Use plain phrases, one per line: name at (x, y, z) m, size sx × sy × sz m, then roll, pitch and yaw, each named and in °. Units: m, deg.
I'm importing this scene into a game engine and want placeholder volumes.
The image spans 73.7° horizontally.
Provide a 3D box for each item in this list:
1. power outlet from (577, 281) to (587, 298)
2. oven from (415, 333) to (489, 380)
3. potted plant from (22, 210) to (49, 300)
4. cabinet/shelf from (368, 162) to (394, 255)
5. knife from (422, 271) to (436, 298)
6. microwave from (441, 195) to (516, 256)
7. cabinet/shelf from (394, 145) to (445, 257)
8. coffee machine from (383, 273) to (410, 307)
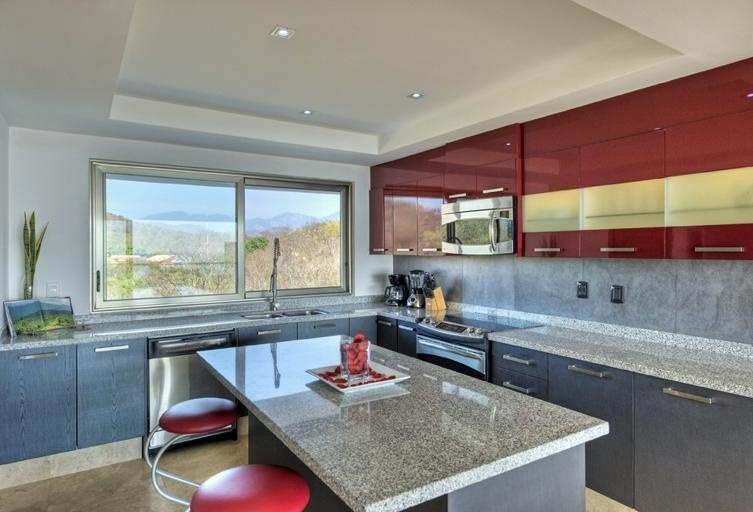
power outlet at (1.758, 0.288, 4.326) m, size 0.035 × 0.154 × 0.109 m, roll -6°, pitch 15°, yaw -28°
oven at (0.749, 0.829, 4.648) m, size 0.646 × 0.382 × 0.437 m, roll 13°, pitch 31°, yaw 24°
potted plant at (-2.988, -0.011, 4.405) m, size 0.207 × 0.737 × 0.304 m, roll -4°, pitch 14°, yaw -21°
cabinet/shelf at (0.053, -0.538, 6.030) m, size 0.285 × 1.064 × 0.248 m, roll 3°, pitch 1°, yaw 25°
knife at (0.578, 0.327, 5.595) m, size 0.152 × 0.253 × 0.245 m, roll 3°, pitch 13°, yaw 7°
microwave at (1.004, -0.253, 4.788) m, size 0.461 × 0.512 × 0.841 m, roll 0°, pitch 0°, yaw -39°
cabinet/shelf at (0.439, -0.552, 5.325) m, size 0.235 × 1.144 × 0.796 m, roll -6°, pitch 15°, yaw -27°
coffee machine at (0.243, 0.395, 5.944) m, size 0.293 × 0.374 × 0.262 m, roll 3°, pitch -2°, yaw -27°
